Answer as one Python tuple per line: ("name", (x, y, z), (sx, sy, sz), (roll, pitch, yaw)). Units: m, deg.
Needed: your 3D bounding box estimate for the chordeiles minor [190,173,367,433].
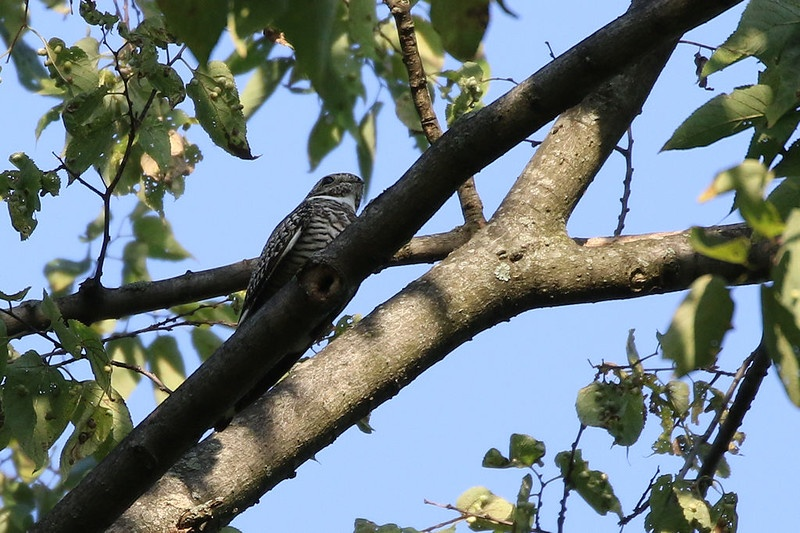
("chordeiles minor", (-0.623, 0.355, 7.211), (1.058, 1.067, 0.466), (-35, -67, 9))
